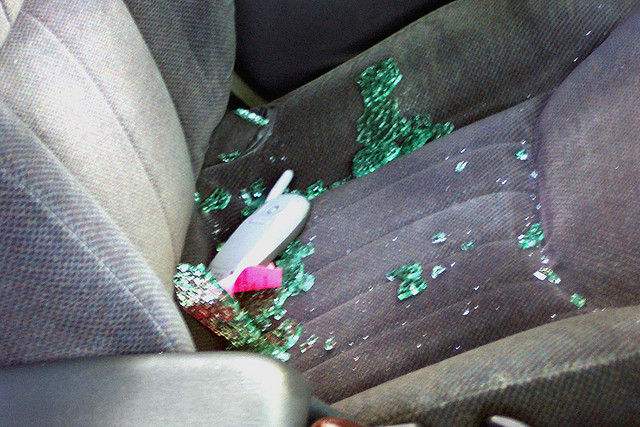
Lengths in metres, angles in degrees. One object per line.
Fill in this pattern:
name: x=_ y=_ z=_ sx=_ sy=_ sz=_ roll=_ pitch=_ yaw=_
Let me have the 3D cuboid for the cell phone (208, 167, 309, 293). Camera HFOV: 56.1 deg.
cell phone: x=-0.116 y=0.043 z=1.158 sx=0.040 sy=0.226 sz=0.127 roll=45 pitch=-7 yaw=-33
